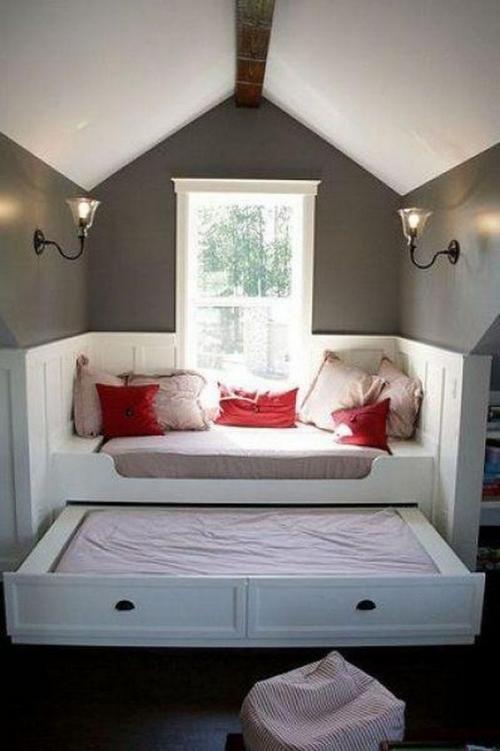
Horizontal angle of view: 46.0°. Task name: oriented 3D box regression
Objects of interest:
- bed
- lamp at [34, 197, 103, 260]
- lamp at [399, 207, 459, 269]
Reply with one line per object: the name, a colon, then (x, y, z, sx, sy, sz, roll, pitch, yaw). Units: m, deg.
bed: (-0.027, 0.397, 2.636, 2.109, 1.058, 1.395, 1, 6, -3)
lamp: (-0.821, -0.644, 2.660, 0.267, 0.282, 0.138, -2, -2, -8)
lamp: (0.813, -0.613, 2.691, 0.259, 0.274, 0.133, 8, -8, 0)
